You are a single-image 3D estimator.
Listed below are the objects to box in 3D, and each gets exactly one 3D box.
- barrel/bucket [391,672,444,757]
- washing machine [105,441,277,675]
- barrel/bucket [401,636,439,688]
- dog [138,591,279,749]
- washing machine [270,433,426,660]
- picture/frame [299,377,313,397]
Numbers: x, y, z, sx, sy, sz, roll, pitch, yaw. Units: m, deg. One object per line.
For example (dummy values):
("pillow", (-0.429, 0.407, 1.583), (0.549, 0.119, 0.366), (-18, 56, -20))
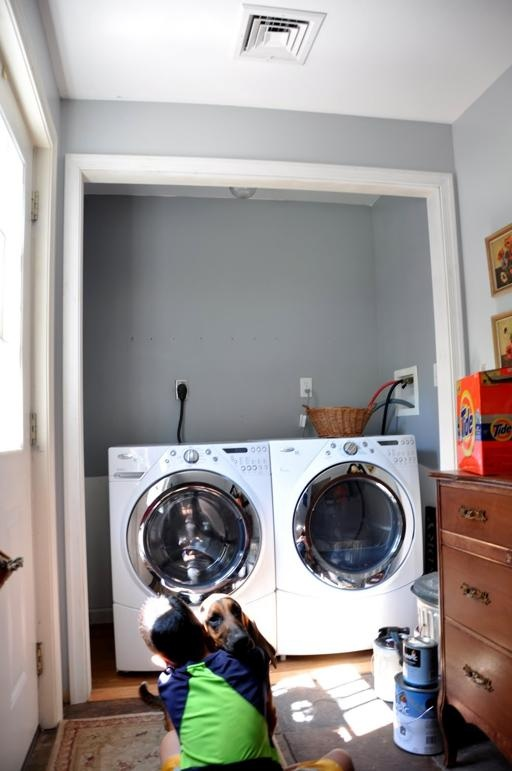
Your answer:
("barrel/bucket", (0.419, 0.881, 1.506), (0.152, 0.193, 0.164), (0, -8, 0))
("washing machine", (-0.255, 0.620, 2.416), (0.758, 1.203, 0.741), (0, -9, -9))
("barrel/bucket", (0.452, 0.745, 1.506), (0.092, 0.114, 0.096), (0, -6, 0))
("dog", (-0.076, 0.629, 1.278), (0.177, 0.284, 0.529), (-8, -21, -16))
("washing machine", (0.310, 0.632, 2.516), (0.741, 1.212, 0.746), (0, -9, -10))
("picture/frame", (0.268, 0.007, 3.015), (0.088, 0.167, 0.017), (3, -9, -19))
